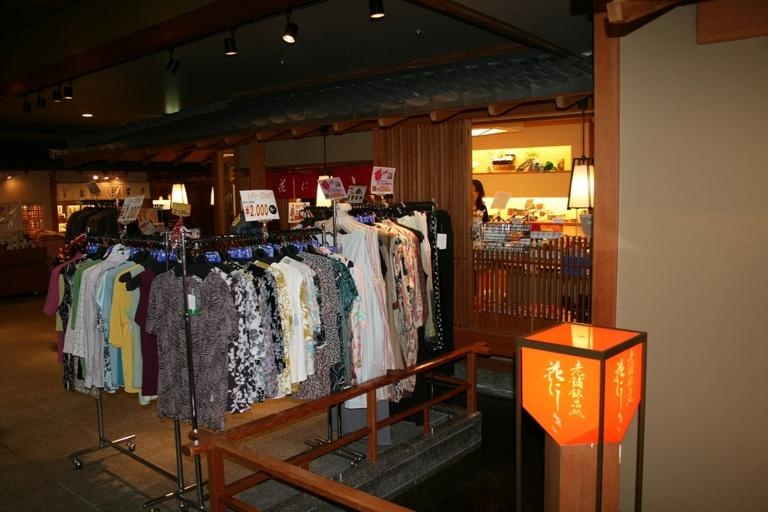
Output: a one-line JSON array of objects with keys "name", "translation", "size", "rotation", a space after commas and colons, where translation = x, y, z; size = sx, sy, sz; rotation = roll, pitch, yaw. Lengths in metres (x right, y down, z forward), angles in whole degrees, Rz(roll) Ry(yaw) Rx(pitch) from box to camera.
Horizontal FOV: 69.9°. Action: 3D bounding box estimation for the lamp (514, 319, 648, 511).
[{"name": "lamp", "translation": [1.292, 1.107, 3.623], "size": [0.653, 1.258, 0.705], "rotation": [3, 9, 39]}]
